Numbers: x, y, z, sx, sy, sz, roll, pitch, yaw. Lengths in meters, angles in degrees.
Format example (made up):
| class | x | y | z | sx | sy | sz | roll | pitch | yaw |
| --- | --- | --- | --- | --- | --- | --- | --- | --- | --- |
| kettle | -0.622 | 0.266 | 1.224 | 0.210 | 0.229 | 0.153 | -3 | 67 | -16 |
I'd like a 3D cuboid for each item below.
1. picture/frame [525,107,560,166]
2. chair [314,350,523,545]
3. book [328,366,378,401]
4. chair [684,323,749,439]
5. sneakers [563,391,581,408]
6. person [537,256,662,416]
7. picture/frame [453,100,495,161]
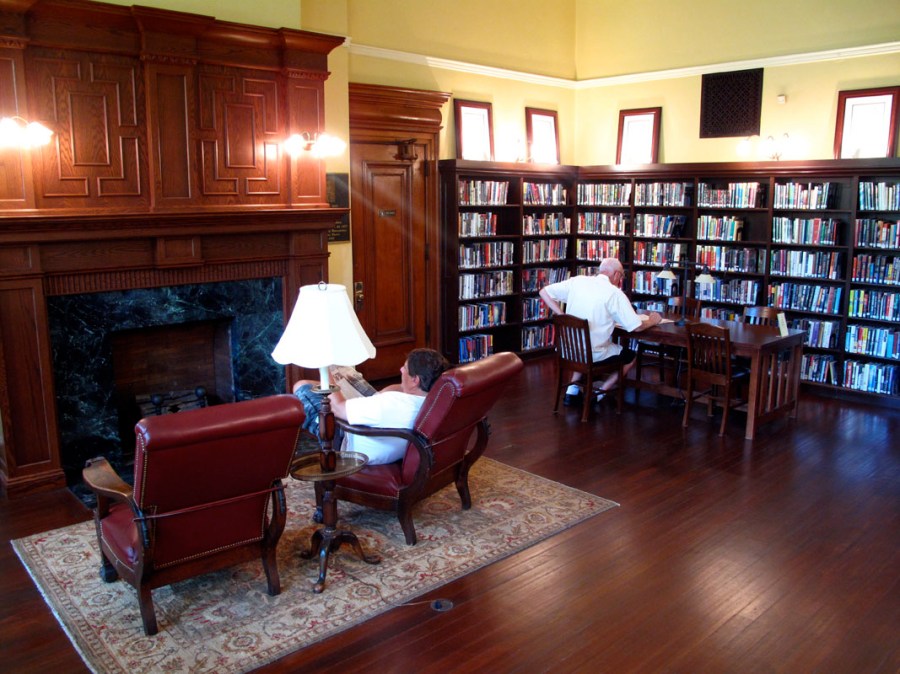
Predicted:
| class | x | y | z | sx | sy | sz | roll | pitch | yaw |
| --- | --- | --- | --- | --- | --- | --- | --- | --- | --- |
| picture/frame | 1.492 | -2.960 | 9.595 | 0.065 | 0.838 | 0.620 | 1 | 14 | 34 |
| chair | -0.152 | 0.677 | 4.955 | 1.438 | 1.496 | 1.085 | 4 | 11 | 38 |
| book | -0.716 | 0.288 | 4.698 | 0.308 | 0.095 | 0.232 | 44 | 25 | 22 |
| chair | 2.879 | 0.322 | 6.858 | 0.612 | 1.116 | 1.226 | 7 | 16 | 25 |
| sneakers | 1.419 | 0.726 | 7.365 | 0.185 | 0.143 | 0.135 | 4 | 6 | 41 |
| person | 1.832 | 0.026 | 7.597 | 0.825 | 1.594 | 1.296 | -32 | 42 | -27 |
| picture/frame | 0.346 | -2.732 | 8.694 | 0.645 | 0.868 | 0.065 | -7 | 8 | -35 |
